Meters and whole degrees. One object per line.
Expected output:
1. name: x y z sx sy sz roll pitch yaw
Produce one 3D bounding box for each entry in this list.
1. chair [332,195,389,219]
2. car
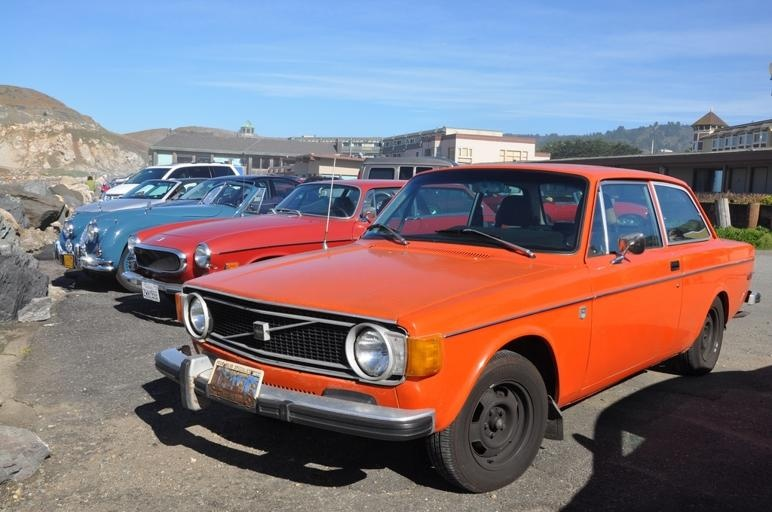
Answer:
1. chair: -0.373 -0.841 7.519 1.097 0.328 0.587 -2 4 -29
2. car: 0.963 0.341 4.148 5.173 1.250 2.664 -2 3 -36
